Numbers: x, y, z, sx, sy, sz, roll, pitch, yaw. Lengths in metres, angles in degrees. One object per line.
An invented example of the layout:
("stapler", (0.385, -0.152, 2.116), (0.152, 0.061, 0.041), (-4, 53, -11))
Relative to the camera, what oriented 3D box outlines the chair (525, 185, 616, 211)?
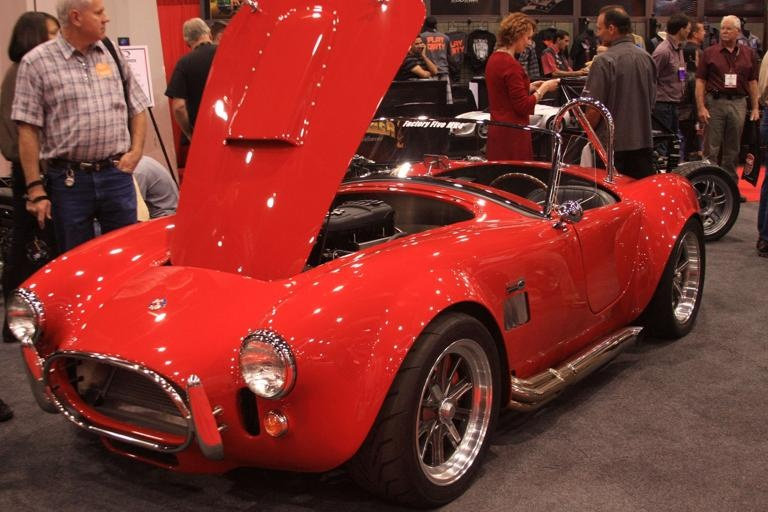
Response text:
("chair", (1.253, -0.373, 3.154), (0.263, 0.138, 0.351), (2, 8, 0))
